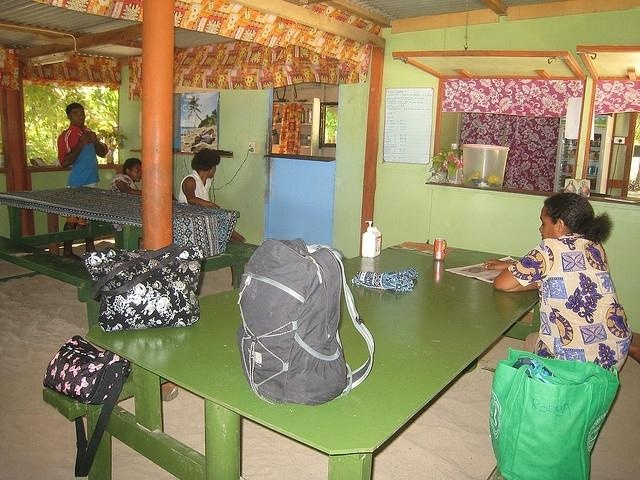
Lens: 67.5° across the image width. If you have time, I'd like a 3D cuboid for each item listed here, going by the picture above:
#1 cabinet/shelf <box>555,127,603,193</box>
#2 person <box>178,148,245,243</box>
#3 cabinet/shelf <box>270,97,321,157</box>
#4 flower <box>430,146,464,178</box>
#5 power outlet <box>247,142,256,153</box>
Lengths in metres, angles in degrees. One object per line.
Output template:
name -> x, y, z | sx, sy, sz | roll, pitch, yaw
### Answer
cabinet/shelf -> 3.041, -0.984, 5.621 | 0.469, 0.786, 2.130 | 8, 11, 25
person -> -1.221, -0.527, 5.380 | 0.704, 0.892, 0.518 | 4, 9, 24
cabinet/shelf -> -0.533, -2.319, 9.765 | 1.396, 1.088, 0.658 | 10, 12, 32
flower -> 1.387, -0.836, 5.287 | 0.358, 0.319, 0.182 | 8, 11, 23
power outlet -> -0.978, -1.304, 6.772 | 0.134, 0.128, 0.033 | 7, 8, 31
